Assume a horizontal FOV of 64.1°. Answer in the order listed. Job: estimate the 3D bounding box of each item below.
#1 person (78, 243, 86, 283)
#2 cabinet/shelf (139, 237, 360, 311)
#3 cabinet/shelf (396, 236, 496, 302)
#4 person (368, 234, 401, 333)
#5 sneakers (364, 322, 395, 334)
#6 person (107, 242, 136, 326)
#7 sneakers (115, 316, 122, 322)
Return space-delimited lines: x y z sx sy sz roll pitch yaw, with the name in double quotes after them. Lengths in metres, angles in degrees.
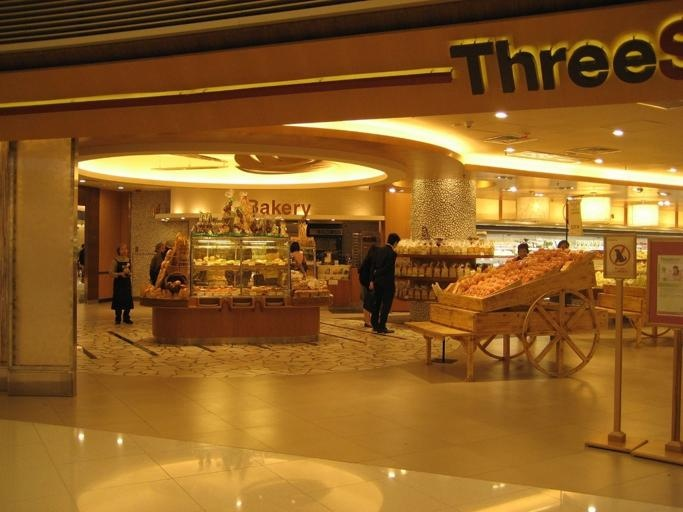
-7.624 0.225 16.101 0.208 1.127 0.306 0 1 -30 "person"
-1.846 0.207 9.455 2.880 1.098 0.420 0 1 -6 "cabinet/shelf"
2.219 0.250 12.430 1.864 0.885 1.792 2 -2 -43 "cabinet/shelf"
0.840 0.555 10.876 0.504 1.971 0.849 1 1 3 "person"
0.694 1.488 11.068 0.620 0.220 0.197 -2 -4 19 "sneakers"
-4.890 0.629 12.216 0.417 1.746 0.921 0 1 -20 "person"
-4.914 1.406 12.090 0.155 0.147 0.143 2 -5 -26 "sneakers"
